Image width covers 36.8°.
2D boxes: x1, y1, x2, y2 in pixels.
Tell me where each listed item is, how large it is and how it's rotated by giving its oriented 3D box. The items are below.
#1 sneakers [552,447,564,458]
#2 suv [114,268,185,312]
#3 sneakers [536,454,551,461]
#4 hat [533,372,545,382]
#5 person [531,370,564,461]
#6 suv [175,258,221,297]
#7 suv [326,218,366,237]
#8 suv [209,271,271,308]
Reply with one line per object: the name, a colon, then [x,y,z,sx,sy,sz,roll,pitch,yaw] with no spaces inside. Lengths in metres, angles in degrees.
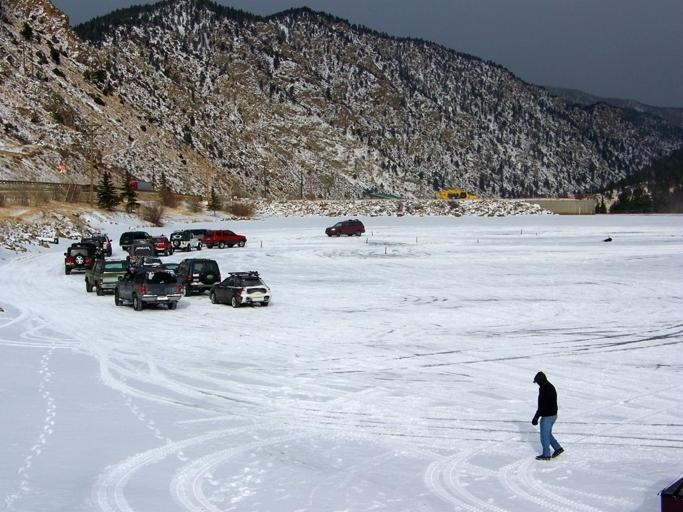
sneakers: [5.313,4.783,25.164,0.419,0.162,0.146,-15,7,-40]
suv: [-7.823,1.151,40.915,1.495,1.160,2.926,0,5,-31]
sneakers: [4.974,4.901,25.208,0.349,0.134,0.132,5,0,8]
hat: [4.819,2.911,24.863,0.254,0.222,0.364,4,8,16]
person: [5.136,3.801,25.293,0.749,2.227,1.375,2,13,11]
suv: [-6.506,0.902,45.745,1.635,1.553,3.283,-3,2,-27]
suv: [0.122,-2.519,88.096,2.872,1.250,1.497,2,-1,-30]
suv: [-4.140,1.276,41.476,1.271,0.905,2.227,0,7,-29]
